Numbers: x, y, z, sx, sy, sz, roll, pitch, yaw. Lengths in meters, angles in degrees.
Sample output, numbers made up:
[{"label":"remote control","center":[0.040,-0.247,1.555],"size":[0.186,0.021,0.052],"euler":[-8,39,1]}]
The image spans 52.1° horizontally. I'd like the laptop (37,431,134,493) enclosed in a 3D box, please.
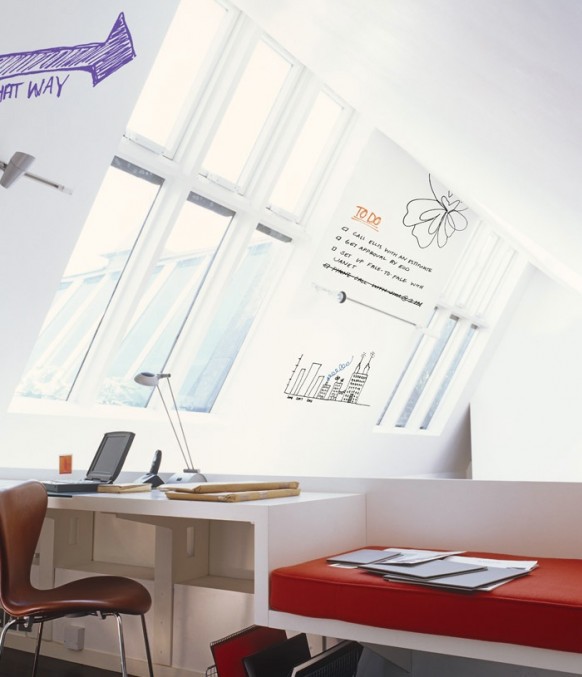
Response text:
[{"label":"laptop","center":[-0.838,0.514,2.455],"size":[0.297,0.199,0.290],"euler":[10,-12,-36]}]
